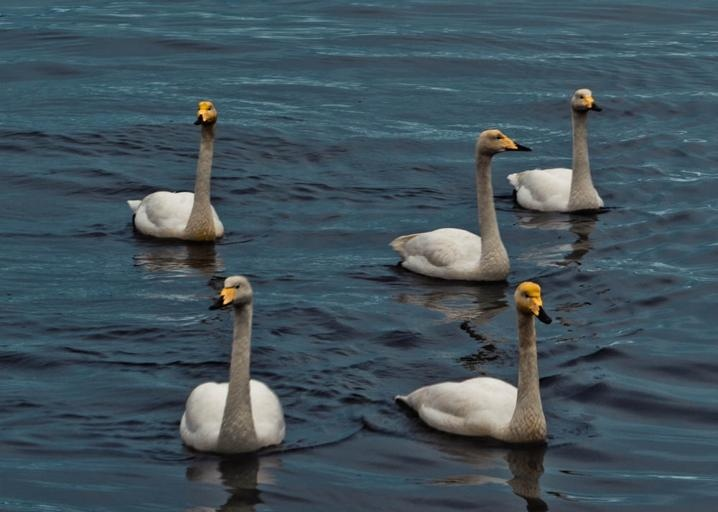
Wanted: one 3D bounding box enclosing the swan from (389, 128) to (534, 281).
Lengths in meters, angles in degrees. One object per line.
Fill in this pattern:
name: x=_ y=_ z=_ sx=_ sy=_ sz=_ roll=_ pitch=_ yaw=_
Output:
swan: x=2.073 y=-0.985 z=19.593 sx=2.243 sy=3.122 sz=1.779 roll=-19 pitch=29 yaw=-19
